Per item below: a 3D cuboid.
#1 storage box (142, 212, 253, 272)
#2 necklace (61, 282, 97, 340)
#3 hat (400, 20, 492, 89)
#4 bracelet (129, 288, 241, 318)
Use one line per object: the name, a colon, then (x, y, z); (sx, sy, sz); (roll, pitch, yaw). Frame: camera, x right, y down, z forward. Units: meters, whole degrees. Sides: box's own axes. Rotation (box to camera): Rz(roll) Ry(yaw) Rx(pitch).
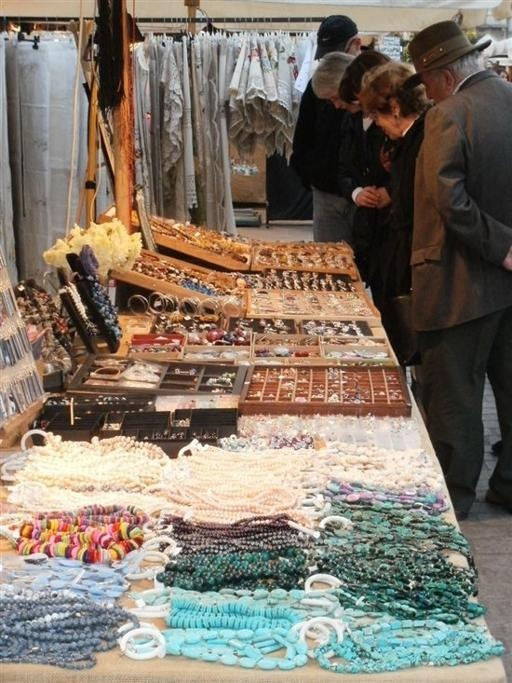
storage box: (-0.440, -0.638, 4.161); (0.704, 0.130, 0.480); (15, 21, -6)
necklace: (-0.749, -0.128, 2.312); (0.053, 0.194, 0.198); (-25, -20, 5)
hat: (0.846, -1.300, 2.519); (0.284, 0.121, 0.311); (-36, 12, -32)
bracelet: (-0.411, -0.200, 2.998); (0.658, 0.163, 0.111); (3, 20, 8)
